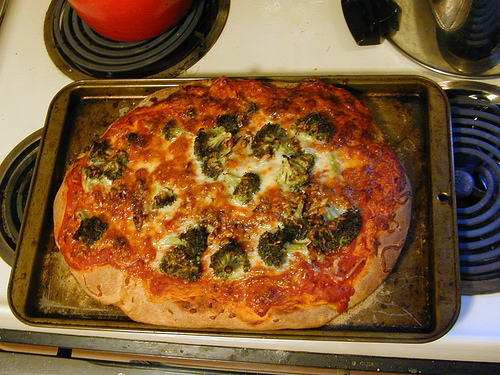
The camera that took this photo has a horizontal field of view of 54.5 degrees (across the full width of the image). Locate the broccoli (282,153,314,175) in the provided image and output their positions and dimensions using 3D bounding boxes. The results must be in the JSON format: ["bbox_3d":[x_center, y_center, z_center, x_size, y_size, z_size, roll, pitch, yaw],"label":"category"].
[{"bbox_3d":[0.332,-0.179,3.230,0.170,0.041,0.125,12,80,1],"label":"broccoli"}]

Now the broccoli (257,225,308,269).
[{"bbox_3d":[0.222,0.398,3.185,0.301,0.311,0.160,-12,115,-24],"label":"broccoli"}]

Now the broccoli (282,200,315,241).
[{"bbox_3d":[0.338,0.234,3.211,0.211,0.066,0.195,-33,77,0],"label":"broccoli"}]

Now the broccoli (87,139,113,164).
[{"bbox_3d":[-1.080,-0.260,3.504,0.171,0.050,0.150,5,80,21],"label":"broccoli"}]

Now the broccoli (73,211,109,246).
[{"bbox_3d":[-1.097,0.283,3.353,0.227,0.064,0.219,37,86,24],"label":"broccoli"}]

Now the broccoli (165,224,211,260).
[{"bbox_3d":[-0.395,0.366,3.224,0.262,0.063,0.177,-14,78,7],"label":"broccoli"}]

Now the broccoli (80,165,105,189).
[{"bbox_3d":[-1.109,-0.083,3.493,0.177,0.046,0.162,-32,75,4],"label":"broccoli"}]

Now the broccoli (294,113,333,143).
[{"bbox_3d":[0.448,-0.413,3.389,0.232,0.060,0.206,36,81,16],"label":"broccoli"}]

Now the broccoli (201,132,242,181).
[{"bbox_3d":[-0.215,-0.219,3.416,0.180,0.130,0.312,35,87,19],"label":"broccoli"}]

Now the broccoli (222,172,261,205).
[{"bbox_3d":[-0.025,-0.022,3.296,0.205,0.051,0.244,-25,84,-2],"label":"broccoli"}]

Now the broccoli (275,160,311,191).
[{"bbox_3d":[0.279,-0.082,3.279,0.215,0.053,0.175,11,83,8],"label":"broccoli"}]
